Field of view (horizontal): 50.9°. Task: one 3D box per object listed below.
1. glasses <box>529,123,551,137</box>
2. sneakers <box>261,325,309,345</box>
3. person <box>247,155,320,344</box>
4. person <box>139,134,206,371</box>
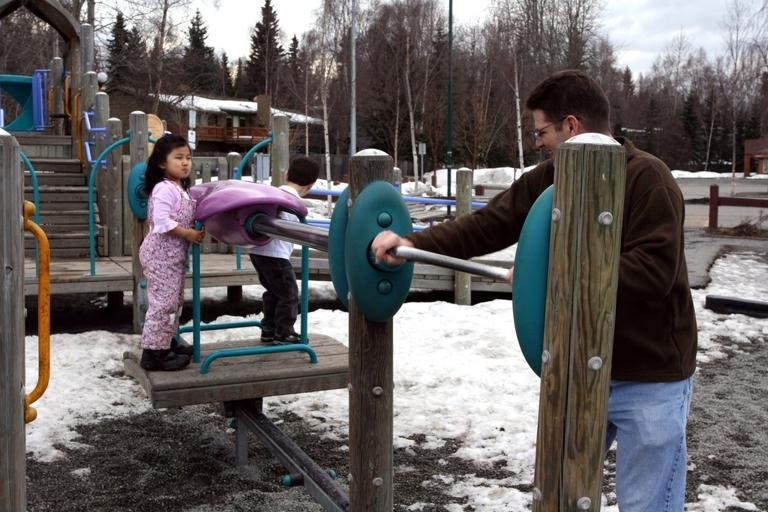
[{"bbox_3d":[0.809,-0.639,4.179,0.063,0.020,0.062,-25,-2,-13],"label":"glasses"},{"bbox_3d":[-0.768,0.607,6.188,0.378,0.186,0.157,0,-4,-4],"label":"sneakers"},{"bbox_3d":[-0.788,-0.051,6.331,0.517,1.475,1.051,1,4,-5],"label":"person"},{"bbox_3d":[-1.480,-0.061,5.625,0.419,1.588,0.727,0,4,-17],"label":"person"}]
